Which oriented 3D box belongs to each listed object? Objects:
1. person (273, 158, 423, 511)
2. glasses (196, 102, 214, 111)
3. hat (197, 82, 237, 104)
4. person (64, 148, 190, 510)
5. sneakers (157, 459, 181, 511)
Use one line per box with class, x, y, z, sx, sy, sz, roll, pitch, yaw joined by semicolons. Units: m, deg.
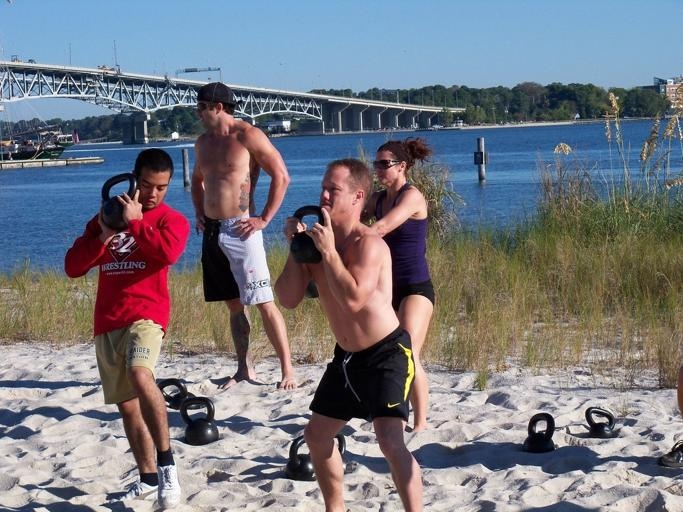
person;0.055;0.563;5.935;0.932;2.426;0.640;-2;6;10
glasses;-1.288;-1.404;8.166;0.083;0.034;0.101;2;50;2
hat;-1.193;-1.523;8.185;0.356;0.223;0.474;-5;7;-8
person;-1.566;0.660;6.567;0.818;2.372;0.549;-1;7;25
sneakers;-1.283;1.693;6.391;0.170;0.336;0.168;-5;6;-12
